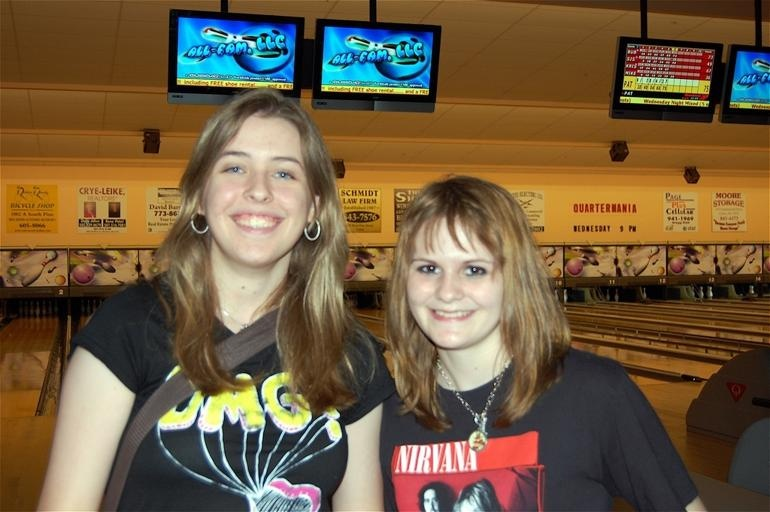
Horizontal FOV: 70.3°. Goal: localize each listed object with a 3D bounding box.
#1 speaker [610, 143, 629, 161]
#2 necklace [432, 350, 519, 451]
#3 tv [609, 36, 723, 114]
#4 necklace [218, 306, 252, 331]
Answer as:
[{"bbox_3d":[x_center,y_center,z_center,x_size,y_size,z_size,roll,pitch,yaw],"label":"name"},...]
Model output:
[{"bbox_3d":[4.173,-1.861,9.738,0.302,0.282,0.399,6,36,4],"label":"speaker"},{"bbox_3d":[0.288,0.458,1.668,0.304,0.449,0.038,-4,-29,10],"label":"necklace"},{"bbox_3d":[2.361,-1.473,4.532,0.121,0.632,0.931,-19,28,-26],"label":"tv"},{"bbox_3d":[-0.440,0.191,1.599,0.088,0.023,0.024,34,-53,-15],"label":"necklace"}]
